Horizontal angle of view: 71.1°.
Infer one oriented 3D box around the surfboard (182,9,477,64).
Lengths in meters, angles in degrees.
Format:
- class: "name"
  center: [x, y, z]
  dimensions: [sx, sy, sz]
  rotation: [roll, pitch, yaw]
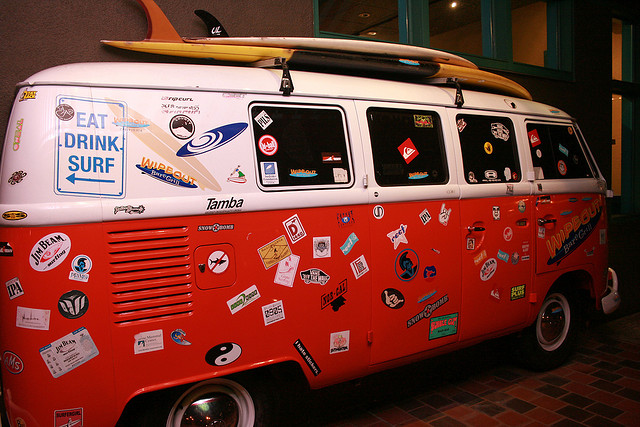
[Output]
- class: "surfboard"
  center: [0.145, -1.834, 4.765]
  dimensions: [2.912, 0.363, 0.314]
  rotation: [4, -13, 0]
